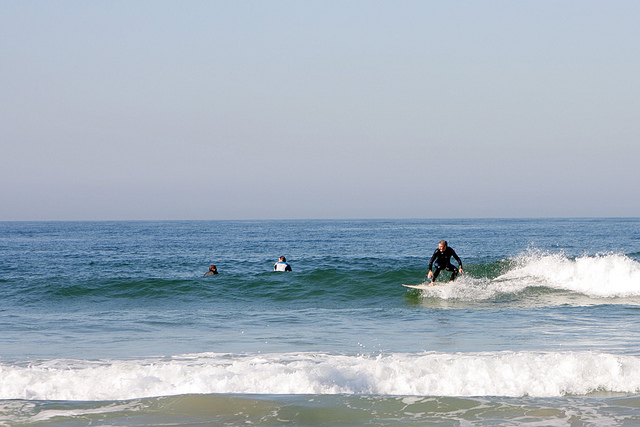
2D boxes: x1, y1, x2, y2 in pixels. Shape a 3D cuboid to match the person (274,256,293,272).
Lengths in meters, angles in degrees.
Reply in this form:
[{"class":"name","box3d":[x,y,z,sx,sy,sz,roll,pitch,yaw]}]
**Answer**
[{"class":"person","box3d":[-1.885,2.437,45.607,0.758,0.755,1.390,-2,7,-3]}]
